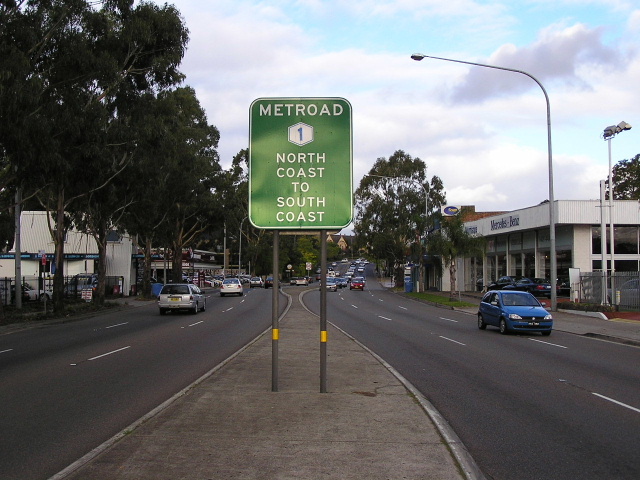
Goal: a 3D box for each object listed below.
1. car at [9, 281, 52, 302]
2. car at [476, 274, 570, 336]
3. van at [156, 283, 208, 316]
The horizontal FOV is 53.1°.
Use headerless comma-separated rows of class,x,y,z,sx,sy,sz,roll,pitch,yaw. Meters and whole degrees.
car,-19.867,3.533,43.943,2.913,1.267,1.353,-1,1,-17
car,7.766,2.896,25.791,1.653,1.791,3.168,0,-5,-18
van,-7.693,3.289,36.712,1.183,1.145,3.020,-1,0,4
